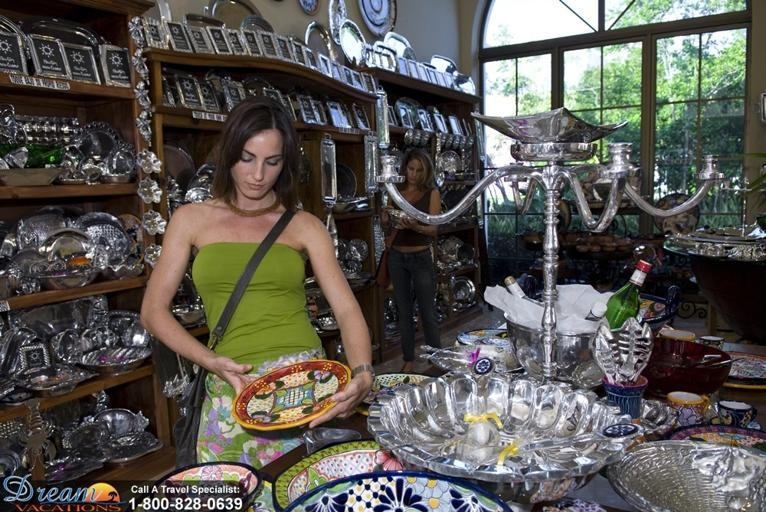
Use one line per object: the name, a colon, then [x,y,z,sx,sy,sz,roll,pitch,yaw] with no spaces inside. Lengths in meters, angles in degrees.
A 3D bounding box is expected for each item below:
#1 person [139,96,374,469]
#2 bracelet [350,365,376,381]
person: [-0.376,0.108,1.625,0.815,1.253,0.558,11,16,43]
bracelet: [-0.071,0.352,1.524,0.056,0.037,0.055,-14,-25,14]
